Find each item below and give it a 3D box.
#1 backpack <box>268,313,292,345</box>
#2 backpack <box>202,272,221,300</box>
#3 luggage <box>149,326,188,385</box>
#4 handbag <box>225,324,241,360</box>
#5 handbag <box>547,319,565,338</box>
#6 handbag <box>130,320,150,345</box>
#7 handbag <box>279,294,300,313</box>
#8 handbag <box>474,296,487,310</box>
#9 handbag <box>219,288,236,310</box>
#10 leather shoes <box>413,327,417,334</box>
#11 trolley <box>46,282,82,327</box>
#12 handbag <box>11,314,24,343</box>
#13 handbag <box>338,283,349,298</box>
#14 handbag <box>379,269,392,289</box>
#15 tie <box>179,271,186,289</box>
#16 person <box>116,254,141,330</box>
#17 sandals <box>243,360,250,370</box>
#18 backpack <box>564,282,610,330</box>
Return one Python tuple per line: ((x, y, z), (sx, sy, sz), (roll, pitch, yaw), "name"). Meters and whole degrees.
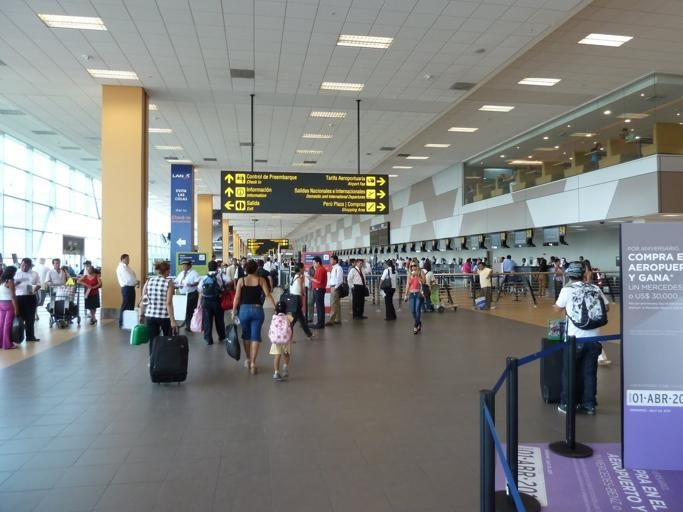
((-0.953, 1.123, 8.106), (0.350, 0.488, 0.260), (-2, 7, -15), "backpack")
((-2.672, 0.613, 10.589), (0.405, 0.591, 0.196), (-2, 7, -14), "backpack")
((-2.653, 1.480, 7.908), (0.589, 0.860, 0.429), (3, -20, -18), "luggage")
((-1.785, 1.414, 8.478), (0.194, 0.644, 0.309), (-2, 7, -9), "handbag")
((2.950, 1.000, 7.124), (0.220, 0.225, 0.219), (6, -7, 0), "handbag")
((-3.204, 1.234, 8.197), (0.254, 0.313, 0.375), (-3, 7, -19), "handbag")
((-1.029, 0.959, 10.468), (0.211, 0.353, 0.486), (2, -2, -41), "handbag")
((4.345, 1.452, 16.121), (0.311, 0.412, 0.154), (4, 36, -6), "handbag")
((-2.334, 0.867, 10.477), (0.464, 0.548, 0.281), (4, -8, -31), "handbag")
((1.706, 1.733, 11.988), (0.106, 0.141, 0.352), (0, -9, 4), "leather shoes")
((-7.084, 1.092, 13.153), (0.751, 1.078, 0.774), (0, 4, -29), "trolley")
((-6.634, 1.525, 10.541), (0.192, 0.610, 0.417), (-4, 8, -29), "handbag")
((0.046, 0.883, 12.999), (0.278, 0.477, 0.341), (-2, -3, 21), "handbag")
((1.210, 0.570, 13.740), (0.325, 0.588, 0.928), (1, 7, 11), "handbag")
((-3.503, 0.526, 11.333), (0.130, 0.401, 0.239), (-4, 8, -29), "tie")
((-5.280, 0.836, 12.752), (0.519, 1.808, 1.457), (-3, 7, -22), "person")
((-1.576, 1.818, 8.612), (0.160, 0.164, 0.166), (-2, 2, -8), "sandals")
((3.209, 0.662, 6.567), (0.394, 0.595, 0.583), (2, -1, -16), "backpack")
